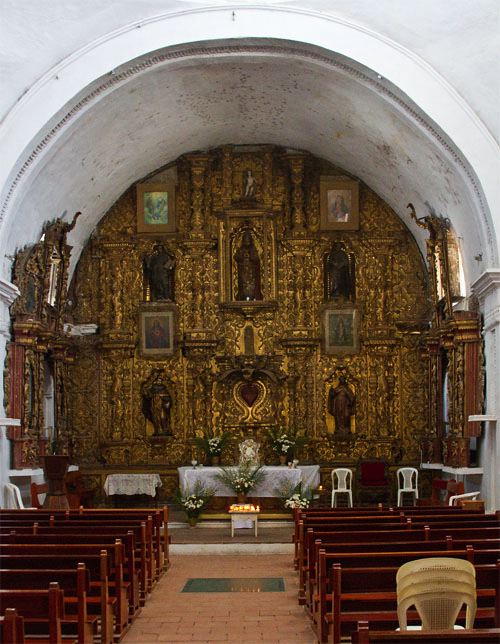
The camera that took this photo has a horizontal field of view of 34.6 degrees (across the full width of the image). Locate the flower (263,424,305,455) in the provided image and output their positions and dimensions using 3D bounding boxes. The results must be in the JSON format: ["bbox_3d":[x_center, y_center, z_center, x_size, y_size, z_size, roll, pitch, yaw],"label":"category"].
[{"bbox_3d":[0.854,2.850,19.420,0.773,0.478,0.751,1,-8,15],"label":"flower"}]

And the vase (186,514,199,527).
[{"bbox_3d":[-1.178,3.996,16.165,0.287,0.204,0.266,0,-5,24],"label":"vase"}]

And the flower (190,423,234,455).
[{"bbox_3d":[-0.835,2.869,19.611,0.755,0.535,0.828,1,-4,-12],"label":"flower"}]

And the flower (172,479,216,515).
[{"bbox_3d":[-0.990,3.547,16.220,0.766,0.742,0.728,0,18,-17],"label":"flower"}]

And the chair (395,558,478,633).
[{"bbox_3d":[1.267,1.856,5.442,0.516,0.455,0.699,-5,-8,11],"label":"chair"}]

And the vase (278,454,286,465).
[{"bbox_3d":[0.717,3.316,19.287,0.228,0.216,0.222,4,-10,-21],"label":"vase"}]

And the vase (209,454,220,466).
[{"bbox_3d":[-0.839,3.336,19.474,0.265,0.253,0.253,1,1,-36],"label":"vase"}]

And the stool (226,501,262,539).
[{"bbox_3d":[-0.099,3.545,14.692,0.657,0.589,0.764,1,-7,0],"label":"stool"}]

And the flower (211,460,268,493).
[{"bbox_3d":[-0.184,3.180,16.452,0.795,0.488,0.734,7,-11,-38],"label":"flower"}]
